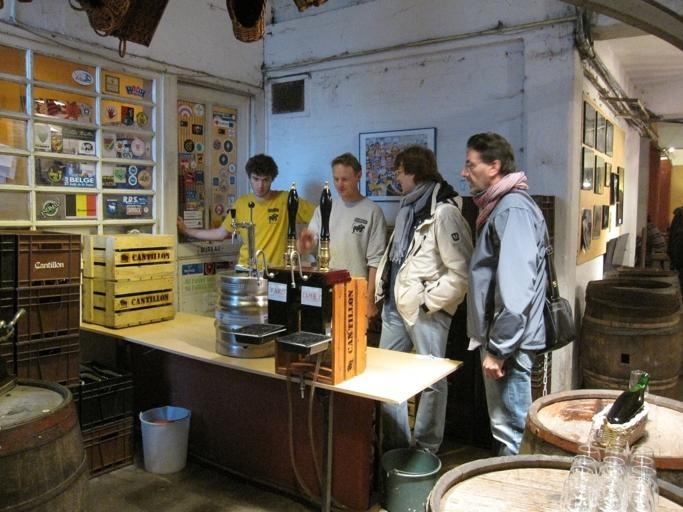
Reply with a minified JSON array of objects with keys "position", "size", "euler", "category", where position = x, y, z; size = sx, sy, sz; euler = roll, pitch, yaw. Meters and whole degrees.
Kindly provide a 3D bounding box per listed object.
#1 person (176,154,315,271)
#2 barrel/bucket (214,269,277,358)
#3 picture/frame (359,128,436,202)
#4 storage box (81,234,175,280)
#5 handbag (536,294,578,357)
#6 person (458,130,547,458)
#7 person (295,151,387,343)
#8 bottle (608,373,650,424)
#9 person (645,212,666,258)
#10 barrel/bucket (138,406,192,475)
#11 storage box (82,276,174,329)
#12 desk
[{"position":[-0.859,-0.356,4.851],"size":[1.042,1.171,0.254],"euler":[-1,-3,-12],"category":"person"},{"position":[-0.604,0.359,3.467],"size":[0.363,0.499,0.194],"euler":[0,3,36],"category":"barrel/bucket"},{"position":[0.468,-0.749,4.587],"size":[0.718,0.645,0.050],"euler":[4,6,33],"category":"picture/frame"},{"position":[-1.615,-0.007,4.295],"size":[0.389,0.324,0.541],"euler":[8,8,29],"category":"storage box"},{"position":[1.290,0.390,3.276],"size":[0.129,0.252,0.174],"euler":[-8,-12,-44],"category":"handbag"},{"position":[0.926,0.215,3.274],"size":[0.475,1.886,0.391],"euler":[0,3,28],"category":"person"},{"position":[0.024,0.031,4.695],"size":[0.709,1.691,0.546],"euler":[7,37,14],"category":"person"},{"position":[1.269,0.629,2.519],"size":[0.287,0.176,0.079],"euler":[-4,3,-39],"category":"bottle"},{"position":[5.575,-0.386,10.075],"size":[0.310,0.723,1.667],"euler":[0,3,29],"category":"person"},{"position":[-1.224,1.290,4.030],"size":[0.412,0.420,0.359],"euler":[2,-2,-26],"category":"barrel/bucket"},{"position":[-1.616,0.279,4.198],"size":[0.415,0.264,0.420],"euler":[3,3,35],"category":"storage box"},{"position":[-0.428,0.663,3.640],"size":[2.229,0.372,0.817],"euler":[0,3,31],"category":"desk"}]
